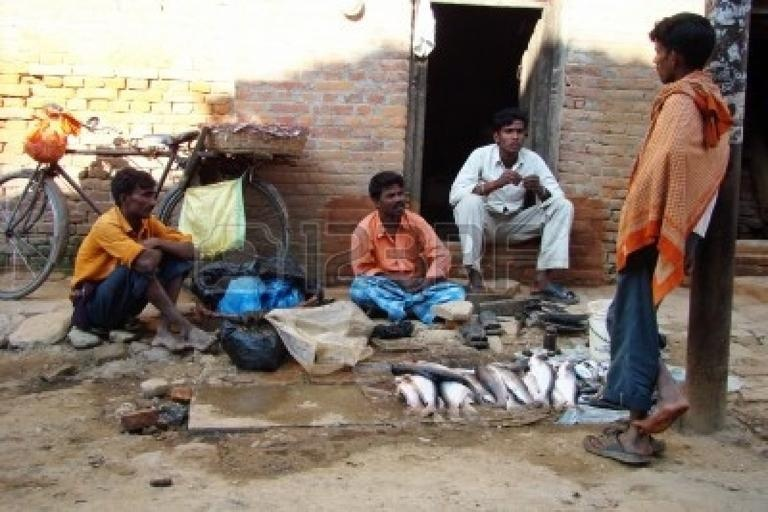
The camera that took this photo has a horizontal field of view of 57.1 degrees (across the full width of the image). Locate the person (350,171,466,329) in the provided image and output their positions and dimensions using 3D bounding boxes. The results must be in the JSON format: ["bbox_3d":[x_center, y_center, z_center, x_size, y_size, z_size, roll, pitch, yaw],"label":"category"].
[{"bbox_3d":[0.098,-0.085,6.718,1.086,1.346,1.105,-13,18,-40],"label":"person"}]

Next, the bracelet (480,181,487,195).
[{"bbox_3d":[1.020,-0.702,7.263,0.078,0.120,0.182,2,11,7],"label":"bracelet"}]

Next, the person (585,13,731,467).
[{"bbox_3d":[1.653,-0.111,4.225,0.588,2.643,0.730,7,14,29],"label":"person"}]

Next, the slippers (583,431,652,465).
[{"bbox_3d":[1.389,1.169,4.294,0.168,0.085,0.311,-7,17,-37],"label":"slippers"}]

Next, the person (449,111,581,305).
[{"bbox_3d":[1.313,-0.566,7.237,1.256,1.860,0.914,2,12,7],"label":"person"}]

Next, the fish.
[{"bbox_3d":[0.849,0.901,5.167,1.568,0.224,0.761,0,11,-1],"label":"fish"}]

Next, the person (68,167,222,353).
[{"bbox_3d":[-2.085,0.002,5.825,1.161,1.424,0.700,-1,12,-6],"label":"person"}]
